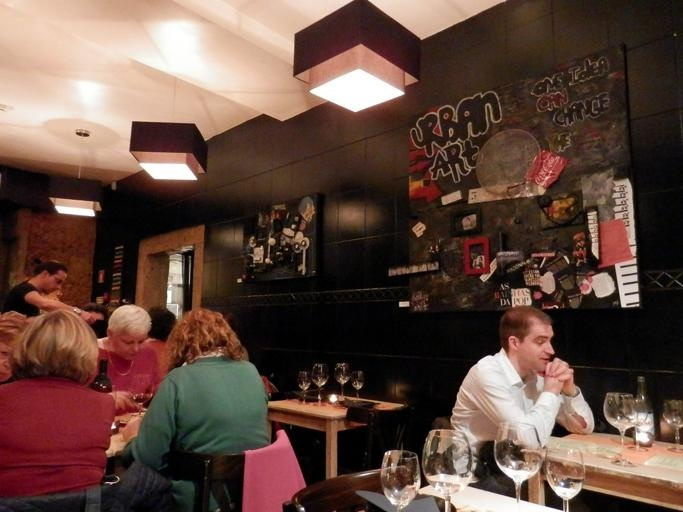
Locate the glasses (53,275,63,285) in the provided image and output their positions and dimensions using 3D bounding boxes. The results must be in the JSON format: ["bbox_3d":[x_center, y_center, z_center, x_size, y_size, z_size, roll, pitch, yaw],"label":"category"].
[{"bbox_3d":[-3.057,0.255,5.681,0.077,0.077,0.059,-40,-8,31],"label":"glasses"}]

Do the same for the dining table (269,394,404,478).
[{"bbox_3d":[-0.041,1.299,4.336,0.910,0.875,0.901,8,-12,-42],"label":"dining table"}]

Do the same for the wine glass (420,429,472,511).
[{"bbox_3d":[0.393,0.812,1.943,0.151,0.313,0.133,8,-11,-33],"label":"wine glass"}]

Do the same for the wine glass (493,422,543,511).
[{"bbox_3d":[0.674,0.810,1.992,0.165,0.342,0.149,-2,-10,22],"label":"wine glass"}]

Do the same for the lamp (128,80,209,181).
[{"bbox_3d":[-1.517,-1.102,4.928,0.591,0.389,0.590,3,-7,4],"label":"lamp"}]
